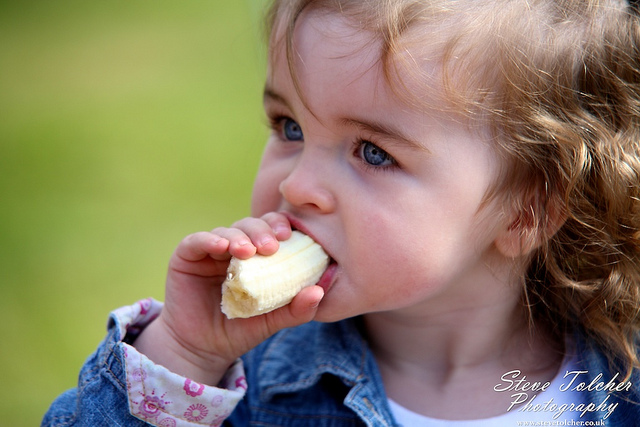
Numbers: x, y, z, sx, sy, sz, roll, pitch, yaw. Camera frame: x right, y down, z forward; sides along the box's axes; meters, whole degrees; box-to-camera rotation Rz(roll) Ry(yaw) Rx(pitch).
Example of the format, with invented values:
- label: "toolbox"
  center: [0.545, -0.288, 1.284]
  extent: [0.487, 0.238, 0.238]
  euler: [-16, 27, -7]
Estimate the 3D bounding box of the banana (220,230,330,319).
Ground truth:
- label: "banana"
  center: [-0.145, 0.212, 2.132]
  extent: [0.326, 0.206, 0.125]
  euler: [-24, -16, -23]
